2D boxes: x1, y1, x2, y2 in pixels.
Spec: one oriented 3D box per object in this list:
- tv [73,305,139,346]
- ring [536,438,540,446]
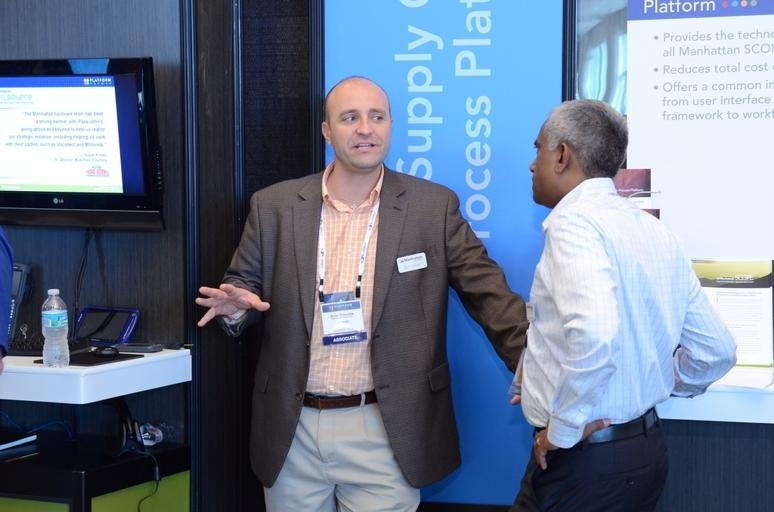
[{"bbox_3d":[-1.513,0.376,3.460,0.331,0.187,0.155,0,4,-11],"label":"tv"},{"bbox_3d":[0.570,0.701,2.401,0.014,0.023,0.025,1,-5,4],"label":"ring"}]
